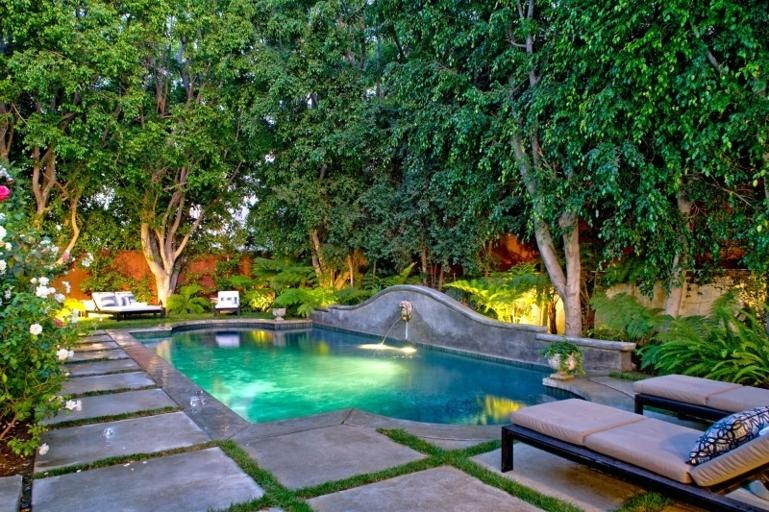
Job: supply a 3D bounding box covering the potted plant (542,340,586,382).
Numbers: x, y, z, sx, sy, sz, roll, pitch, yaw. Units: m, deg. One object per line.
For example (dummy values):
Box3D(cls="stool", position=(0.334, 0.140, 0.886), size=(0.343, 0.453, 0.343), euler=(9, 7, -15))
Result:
Box3D(cls="potted plant", position=(3.581, 2.044, 9.417), size=(0.704, 0.709, 0.718), euler=(-1, -4, 22))
